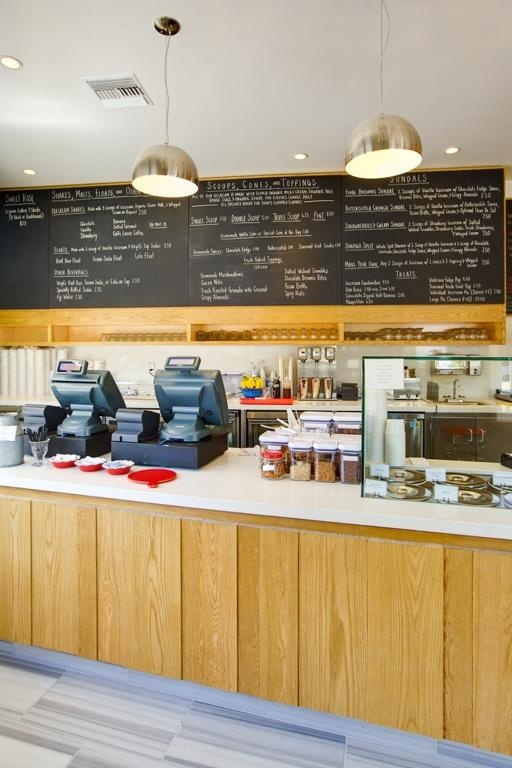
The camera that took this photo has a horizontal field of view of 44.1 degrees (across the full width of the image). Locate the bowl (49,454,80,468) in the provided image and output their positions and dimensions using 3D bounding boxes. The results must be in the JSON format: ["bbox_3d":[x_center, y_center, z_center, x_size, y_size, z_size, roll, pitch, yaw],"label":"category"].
[{"bbox_3d":[-0.757,0.308,2.496,0.102,0.043,0.118,-2,5,-14],"label":"bowl"}]

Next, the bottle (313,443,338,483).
[{"bbox_3d":[0.250,0.278,2.258,0.091,0.143,0.070,-1,4,-2],"label":"bottle"}]

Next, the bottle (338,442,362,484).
[{"bbox_3d":[0.328,0.280,2.241,0.093,0.143,0.057,1,4,26],"label":"bottle"}]

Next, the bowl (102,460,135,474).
[{"bbox_3d":[-0.523,0.318,2.402,0.107,0.045,0.109,-1,5,0],"label":"bowl"}]

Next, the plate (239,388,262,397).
[{"bbox_3d":[-0.020,0.061,4.498,0.165,0.069,0.108,-3,5,-18],"label":"plate"}]

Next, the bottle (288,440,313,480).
[{"bbox_3d":[0.153,0.275,2.295,0.105,0.145,0.086,1,4,23],"label":"bottle"}]

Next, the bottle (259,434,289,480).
[{"bbox_3d":[0.065,0.264,2.312,0.132,0.212,0.131,0,0,0],"label":"bottle"}]

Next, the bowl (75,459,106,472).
[{"bbox_3d":[-0.640,0.315,2.435,0.097,0.046,0.080,-3,5,-20],"label":"bowl"}]

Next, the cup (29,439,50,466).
[{"bbox_3d":[-0.853,0.280,2.543,0.088,0.120,0.095,-1,-5,0],"label":"cup"}]
